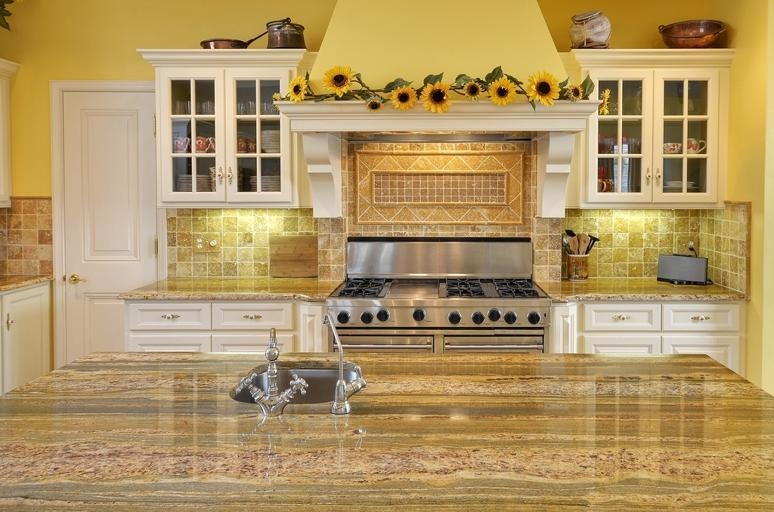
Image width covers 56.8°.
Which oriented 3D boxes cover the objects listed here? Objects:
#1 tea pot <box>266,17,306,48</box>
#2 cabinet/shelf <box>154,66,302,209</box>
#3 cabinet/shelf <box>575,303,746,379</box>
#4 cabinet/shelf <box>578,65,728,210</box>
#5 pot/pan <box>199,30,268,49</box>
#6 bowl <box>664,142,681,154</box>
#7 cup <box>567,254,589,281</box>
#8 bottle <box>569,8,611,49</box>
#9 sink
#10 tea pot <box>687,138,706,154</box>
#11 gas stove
[{"bbox_3d":[-0.714,-1.613,5.254,0.291,0.158,0.260,1,4,18],"label":"tea pot"},{"bbox_3d":[-1.319,-0.900,5.372,0.475,1.021,1.275,9,13,35],"label":"cabinet/shelf"},{"bbox_3d":[1.903,0.487,5.143,1.151,0.811,0.559,0,-1,0],"label":"cabinet/shelf"},{"bbox_3d":[1.918,-0.891,5.162,1.379,0.988,0.463,0,0,1],"label":"cabinet/shelf"},{"bbox_3d":[-1.125,-1.539,5.229,0.431,0.054,0.238,-5,4,-32],"label":"pot/pan"},{"bbox_3d":[2.072,-0.786,5.210,0.103,0.041,0.093,-3,5,-23],"label":"bowl"},{"bbox_3d":[1.437,0.093,5.417,0.215,0.181,0.190,0,4,12],"label":"cup"},{"bbox_3d":[1.452,-1.614,5.124,0.332,0.227,0.306,-2,13,0],"label":"bottle"},{"bbox_3d":[-0.379,0.578,3.386,0.393,0.104,0.273,0,5,-1],"label":"sink"},{"bbox_3d":[2.244,-0.804,5.219,0.100,0.086,0.145,-4,6,-33],"label":"tea pot"},{"bbox_3d":[0.340,0.329,4.988,1.475,0.279,0.698,0,3,-2],"label":"gas stove"}]
